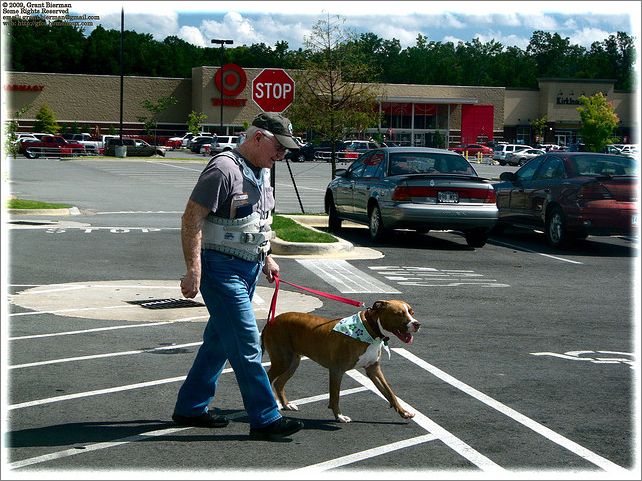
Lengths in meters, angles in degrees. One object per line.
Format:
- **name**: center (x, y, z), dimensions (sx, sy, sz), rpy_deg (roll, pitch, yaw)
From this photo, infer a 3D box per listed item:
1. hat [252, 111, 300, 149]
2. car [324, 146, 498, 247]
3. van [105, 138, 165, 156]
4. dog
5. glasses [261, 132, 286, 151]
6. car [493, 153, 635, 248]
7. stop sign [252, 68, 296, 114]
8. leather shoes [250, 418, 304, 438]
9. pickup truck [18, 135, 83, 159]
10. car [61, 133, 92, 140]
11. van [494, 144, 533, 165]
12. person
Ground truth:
- **hat**: center (-0.375, -0.885, 5.772), dimensions (0.483, 0.213, 0.285), rpy_deg (18, -1, 4)
- **car**: center (1.928, -1.014, 16.184), dimensions (2.130, 2.116, 3.736), rpy_deg (-3, 10, -30)
- **van**: center (-15.302, -7.574, 59.492), dimensions (4.296, 1.407, 1.889), rpy_deg (-4, 11, -17)
- **dog**: center (0.091, 0.961, 5.936), dimensions (1.435, 0.943, 0.500), rpy_deg (2, -7, 22)
- **glasses**: center (-0.371, -0.770, 5.691), dimensions (0.140, 0.042, 0.137), rpy_deg (44, 12, 22)
- **car**: center (5.560, -0.955, 16.340), dimensions (2.358, 2.084, 4.061), rpy_deg (-1, 9, -16)
- **stop sign**: center (-1.143, -3.641, 17.504), dimensions (0.954, 1.080, 1.080), rpy_deg (1, 9, -6)
- **leather shoes**: center (-0.326, 1.460, 5.634), dimensions (0.422, 0.157, 0.151), rpy_deg (-6, 23, -6)
- **pickup truck**: center (-20.195, -7.066, 54.325), dimensions (2.204, 1.578, 4.749), rpy_deg (9, 11, 41)
- **car**: center (-21.781, -9.211, 65.001), dimensions (2.157, 0.826, 1.149), rpy_deg (-7, 17, -24)
- **van**: center (17.669, -7.740, 65.379), dimensions (3.968, 1.372, 1.722), rpy_deg (-9, 15, -19)
- **person**: center (-0.644, 0.256, 5.693), dimensions (0.999, 2.513, 0.842), rpy_deg (0, 9, -15)
